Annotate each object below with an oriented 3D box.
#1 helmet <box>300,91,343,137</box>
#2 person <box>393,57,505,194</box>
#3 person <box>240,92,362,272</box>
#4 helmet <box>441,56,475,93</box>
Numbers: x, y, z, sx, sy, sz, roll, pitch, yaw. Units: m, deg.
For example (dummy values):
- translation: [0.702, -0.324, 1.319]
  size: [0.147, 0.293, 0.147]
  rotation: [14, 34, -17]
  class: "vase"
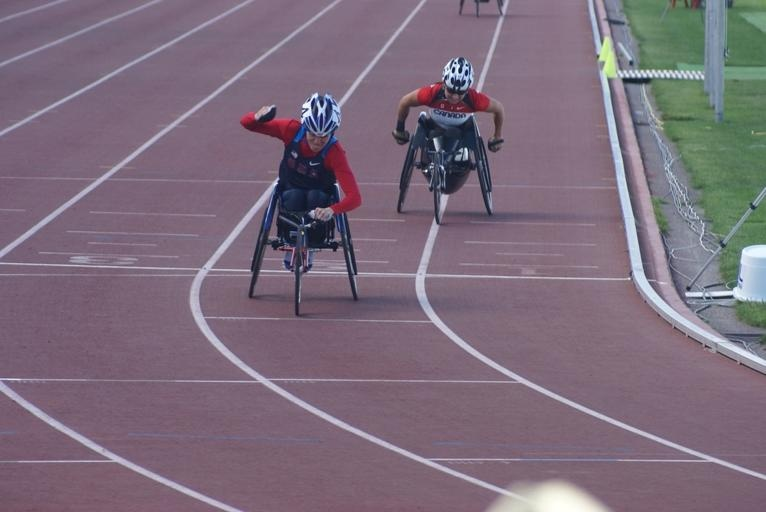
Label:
- translation: [-0.872, -1.952, 20.303]
  size: [0.515, 0.580, 0.510]
  rotation: [-2, 14, -5]
  class: "helmet"
- translation: [1.100, -2.474, 23.594]
  size: [1.511, 1.542, 1.126]
  rotation: [8, 17, 30]
  class: "person"
- translation: [-1.033, -1.012, 20.485]
  size: [1.308, 2.490, 0.860]
  rotation: [11, 19, 39]
  class: "person"
- translation: [1.169, -2.835, 23.038]
  size: [0.424, 0.566, 0.386]
  rotation: [-1, 14, -1]
  class: "helmet"
